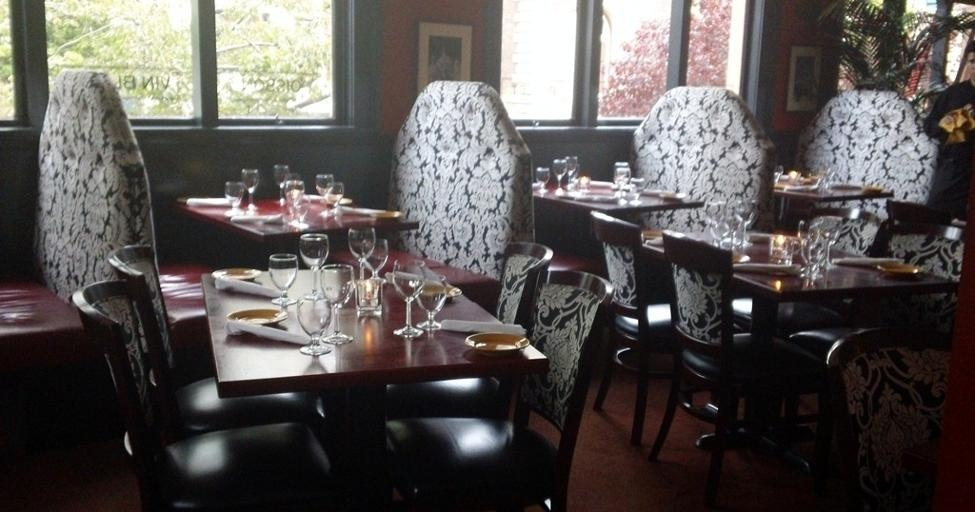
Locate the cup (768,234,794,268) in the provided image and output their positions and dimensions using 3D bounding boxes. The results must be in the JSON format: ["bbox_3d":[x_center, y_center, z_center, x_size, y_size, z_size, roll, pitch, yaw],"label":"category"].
[{"bbox_3d":[1.982,-0.050,4.521,0.150,0.163,0.341,5,11,23],"label":"cup"}]

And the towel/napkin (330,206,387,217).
[{"bbox_3d":[-0.986,-0.350,5.312,0.557,0.071,0.136,3,2,4],"label":"towel/napkin"}]

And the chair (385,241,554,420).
[{"bbox_3d":[-0.372,0.384,4.299,1.152,1.377,0.858,0,8,-14],"label":"chair"}]

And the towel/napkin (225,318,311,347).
[{"bbox_3d":[-1.076,0.381,3.263,0.332,0.060,0.079,9,48,4],"label":"towel/napkin"}]

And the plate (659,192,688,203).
[{"bbox_3d":[1.672,-0.534,6.048,0.238,0.074,0.206,2,10,13],"label":"plate"}]

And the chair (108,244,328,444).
[{"bbox_3d":[-1.497,0.337,4.217,1.273,1.526,0.975,-7,17,-16],"label":"chair"}]

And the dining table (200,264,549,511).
[{"bbox_3d":[-0.793,0.435,3.417,1.345,0.851,1.190,-3,9,-24],"label":"dining table"}]

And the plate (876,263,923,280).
[{"bbox_3d":[2.613,0.094,4.222,0.263,0.069,0.224,4,10,21],"label":"plate"}]

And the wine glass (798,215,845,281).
[{"bbox_3d":[2.177,-0.077,4.417,0.230,0.342,0.885,5,11,25],"label":"wine glass"}]
